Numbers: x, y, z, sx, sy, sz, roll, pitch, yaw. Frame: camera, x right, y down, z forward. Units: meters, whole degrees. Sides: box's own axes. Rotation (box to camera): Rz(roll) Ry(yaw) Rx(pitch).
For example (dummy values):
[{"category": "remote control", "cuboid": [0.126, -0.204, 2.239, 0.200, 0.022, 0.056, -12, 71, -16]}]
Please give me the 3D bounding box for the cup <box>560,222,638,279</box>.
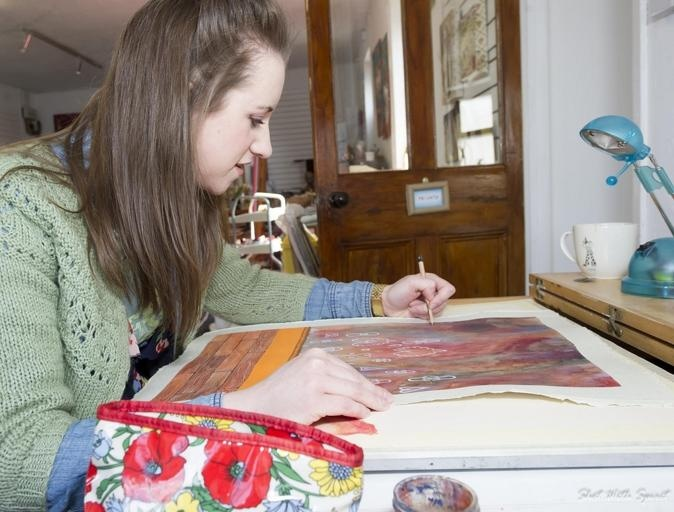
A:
[{"category": "cup", "cuboid": [0.615, -0.009, 1.309, 0.144, 0.132, 0.177, 2, -5, -41]}]
